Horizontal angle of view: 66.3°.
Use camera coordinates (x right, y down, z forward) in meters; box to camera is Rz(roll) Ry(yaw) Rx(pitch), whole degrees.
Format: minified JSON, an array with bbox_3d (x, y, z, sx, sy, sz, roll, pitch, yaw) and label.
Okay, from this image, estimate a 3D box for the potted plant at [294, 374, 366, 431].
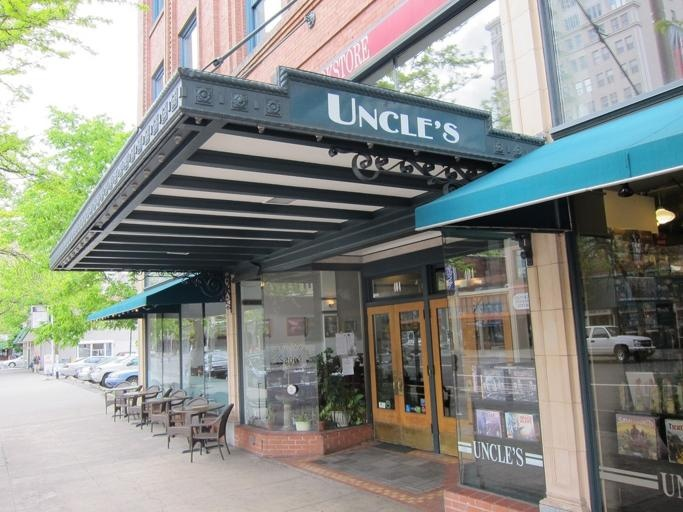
[{"bbox_3d":[-0.280,2.857,10.958,1.368,0.936,1.079,4,-6,-36],"label":"potted plant"}]
